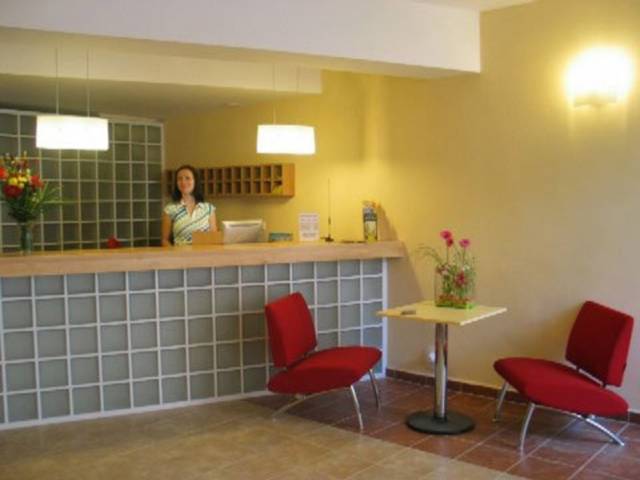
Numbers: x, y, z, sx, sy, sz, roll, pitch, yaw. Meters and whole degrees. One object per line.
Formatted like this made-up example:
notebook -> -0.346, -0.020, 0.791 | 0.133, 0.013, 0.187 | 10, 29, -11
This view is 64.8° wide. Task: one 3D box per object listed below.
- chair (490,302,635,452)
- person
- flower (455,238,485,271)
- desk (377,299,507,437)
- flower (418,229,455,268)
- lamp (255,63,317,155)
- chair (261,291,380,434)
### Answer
chair -> 2.119, 1.076, 4.476 | 1.184, 1.375, 0.979 | 2, 2, -8
person -> -1.615, -0.417, 6.100 | 0.610, 0.933, 0.396 | -5, 8, -11
flower -> 1.440, 0.150, 4.892 | 0.221, 0.384, 0.623 | -1, 8, 18
desk -> 1.094, 1.113, 4.693 | 1.093, 1.177, 1.081 | 2, 5, 23
flower -> 1.178, 0.093, 5.150 | 0.342, 0.344, 0.346 | 3, 3, 44
lamp -> -0.405, -1.607, 6.235 | 0.676, 1.150, 2.052 | -3, 7, -2
chair -> -0.060, 1.079, 4.945 | 1.173, 1.355, 0.964 | -1, 5, 18
